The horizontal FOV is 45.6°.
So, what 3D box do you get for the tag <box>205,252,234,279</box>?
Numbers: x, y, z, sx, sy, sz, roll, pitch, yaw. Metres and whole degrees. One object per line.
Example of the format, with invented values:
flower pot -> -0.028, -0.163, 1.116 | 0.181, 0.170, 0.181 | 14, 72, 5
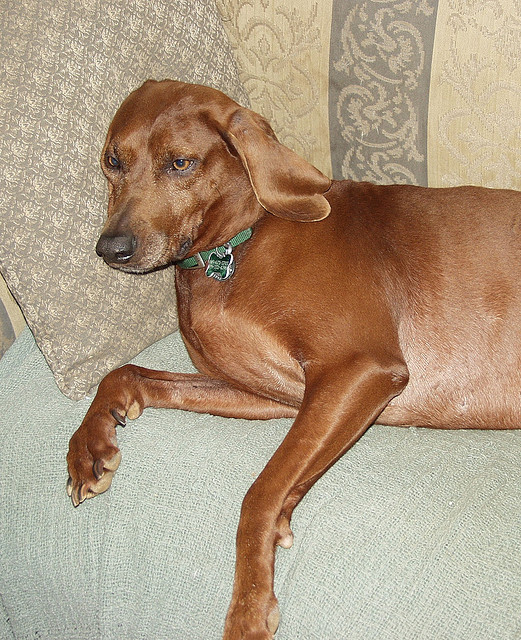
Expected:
tag -> -0.090, -0.118, 1.346 | 0.065, 0.015, 0.055 | 6, 85, 31
